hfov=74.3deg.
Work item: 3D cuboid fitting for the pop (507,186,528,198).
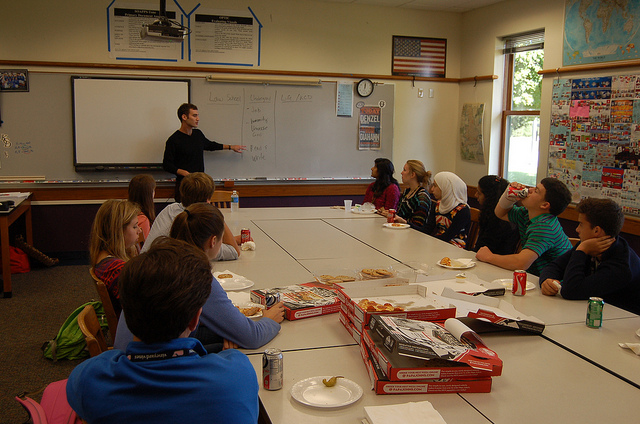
[{"bbox_3d":[1.539,-0.152,3.310,0.103,0.042,0.104,-2,9,-13],"label":"pop"}]

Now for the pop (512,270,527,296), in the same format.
[{"bbox_3d":[1.230,0.433,2.601,0.101,0.146,0.080,2,14,4],"label":"pop"}]

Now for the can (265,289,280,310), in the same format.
[{"bbox_3d":[-0.266,0.471,2.355,0.079,0.065,0.208,-1,14,-6],"label":"can"}]

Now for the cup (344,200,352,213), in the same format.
[{"bbox_3d":[0.315,-0.060,4.992,0.114,0.178,0.117,0,7,0],"label":"cup"}]

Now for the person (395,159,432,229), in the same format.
[{"bbox_3d":[1.012,-0.214,4.819,0.437,0.739,0.780,0,9,-1],"label":"person"}]

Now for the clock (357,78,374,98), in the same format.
[{"bbox_3d":[0.666,-1.829,6.227,0.253,0.249,0.049,-5,15,-20],"label":"clock"}]

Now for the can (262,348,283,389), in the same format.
[{"bbox_3d":[-0.197,0.648,1.767,0.091,0.169,0.069,-3,15,-14],"label":"can"}]

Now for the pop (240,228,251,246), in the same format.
[{"bbox_3d":[-0.606,0.195,3.461,0.076,0.112,0.101,-3,15,-13],"label":"pop"}]

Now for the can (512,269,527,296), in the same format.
[{"bbox_3d":[1.220,0.435,2.596,0.074,0.146,0.081,0,14,0],"label":"can"}]

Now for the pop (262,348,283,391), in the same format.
[{"bbox_3d":[-0.195,0.655,1.789,0.095,0.163,0.094,1,5,4],"label":"pop"}]

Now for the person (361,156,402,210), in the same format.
[{"bbox_3d":[0.785,-0.350,5.549,0.565,0.933,0.743,2,8,0],"label":"person"}]

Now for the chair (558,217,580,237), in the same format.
[{"bbox_3d":[2.592,0.154,4.413,0.112,0.203,0.206,-4,10,-8],"label":"chair"}]
